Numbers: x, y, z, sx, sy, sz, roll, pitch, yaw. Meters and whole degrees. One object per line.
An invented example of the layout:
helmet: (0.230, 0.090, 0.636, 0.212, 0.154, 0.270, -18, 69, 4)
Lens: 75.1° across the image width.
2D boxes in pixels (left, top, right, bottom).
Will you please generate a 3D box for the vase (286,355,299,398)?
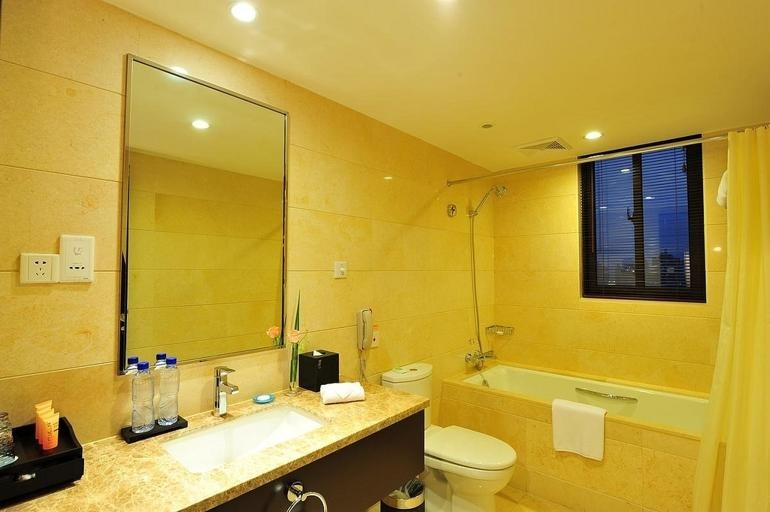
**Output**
vase: (-0.567, 0.729, 3.076, 0.069, 0.235, 0.139, 0, -4, -11)

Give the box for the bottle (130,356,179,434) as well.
bottle: (-1.212, 0.725, 2.639, 0.221, 0.371, 0.169, 2, -5, -32)

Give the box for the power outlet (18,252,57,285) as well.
power outlet: (-1.700, 0.061, 2.435, 0.162, 0.154, 0.052, 2, -1, -33)

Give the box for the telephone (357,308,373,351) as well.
telephone: (-0.130, 0.520, 3.541, 0.072, 0.299, 0.170, -3, -5, 38)

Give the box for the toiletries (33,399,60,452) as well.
toiletries: (-1.608, 0.798, 2.382, 0.095, 0.206, 0.178, 2, -5, -35)

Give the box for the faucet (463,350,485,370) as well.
faucet: (0.782, 0.944, 4.533, 0.139, 0.069, 0.185, 0, 4, -7)

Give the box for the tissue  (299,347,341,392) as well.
tissue : (-0.410, 0.679, 3.129, 0.287, 0.267, 0.210, 3, -7, -42)

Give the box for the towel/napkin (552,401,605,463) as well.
towel/napkin: (1.381, 1.267, 3.584, 0.441, 0.414, 0.171, 1, 4, 34)

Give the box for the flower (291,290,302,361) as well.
flower: (-0.551, 0.433, 3.113, 0.050, 0.423, 0.161, 0, -4, -9)

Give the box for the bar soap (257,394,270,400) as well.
bar soap: (-0.715, 0.823, 2.933, 0.077, 0.023, 0.051, 1, -5, -15)
